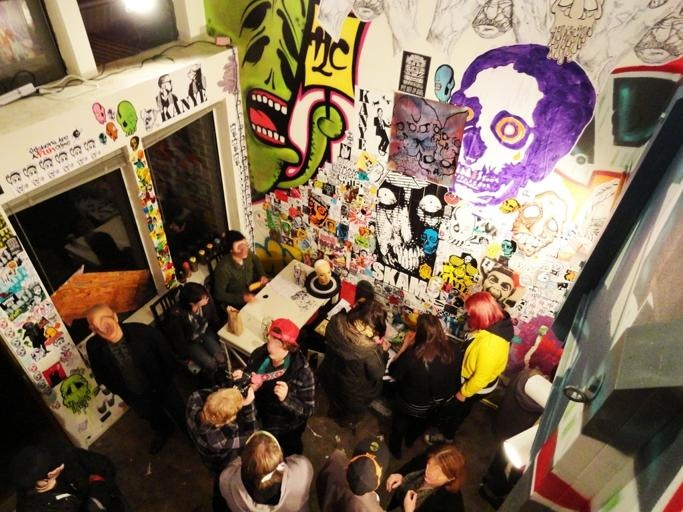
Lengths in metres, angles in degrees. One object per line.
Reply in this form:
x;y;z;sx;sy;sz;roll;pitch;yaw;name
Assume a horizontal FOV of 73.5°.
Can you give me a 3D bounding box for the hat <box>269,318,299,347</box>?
-0.488;0.666;4.023;0.181;0.166;0.266;27;-1;1;hat
